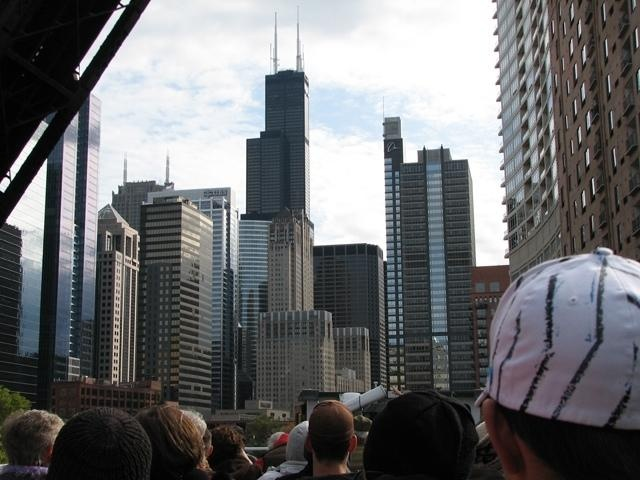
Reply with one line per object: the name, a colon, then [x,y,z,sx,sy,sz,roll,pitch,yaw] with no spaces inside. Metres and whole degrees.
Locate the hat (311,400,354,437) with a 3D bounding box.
hat: [0.072,1.284,6.655,0.311,0.258,0.255,-1,-11,-1]
